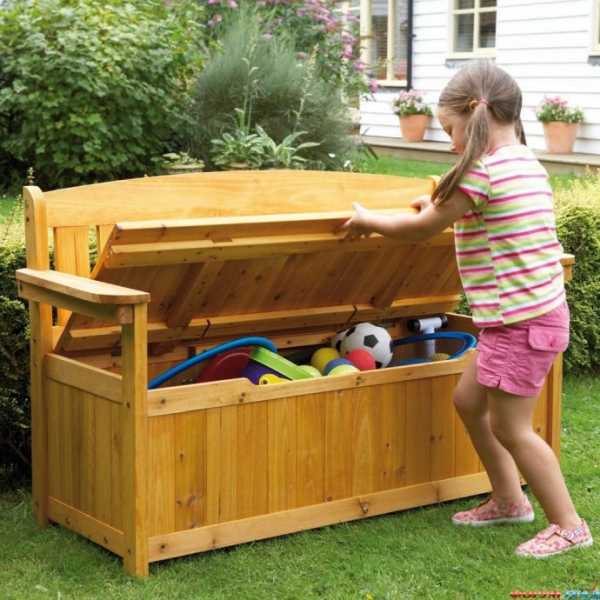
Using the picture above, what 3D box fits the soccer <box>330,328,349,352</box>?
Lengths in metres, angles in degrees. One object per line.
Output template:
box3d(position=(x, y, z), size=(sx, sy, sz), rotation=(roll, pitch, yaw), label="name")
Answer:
box3d(position=(0.179, 0.183, 3.214), size=(0.113, 0.095, 0.094), rotation=(-2, 4, -8), label="soccer")

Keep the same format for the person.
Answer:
box3d(position=(0.630, 0.025, 2.293), size=(0.738, 1.621, 0.324), rotation=(1, 10, 4), label="person")

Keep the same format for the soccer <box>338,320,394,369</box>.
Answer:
box3d(position=(0.288, 0.203, 3.113), size=(0.178, 0.150, 0.203), rotation=(-31, -7, 32), label="soccer")

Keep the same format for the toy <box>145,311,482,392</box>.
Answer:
box3d(position=(-0.061, 0.185, 2.587), size=(1.237, 0.280, 0.261), rotation=(-3, -21, -35), label="toy")

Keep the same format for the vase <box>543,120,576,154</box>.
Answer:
box3d(position=(3.724, -2.309, 9.948), size=(0.541, 0.331, 0.478), rotation=(1, 0, 3), label="vase")

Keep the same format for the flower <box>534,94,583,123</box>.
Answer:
box3d(position=(3.682, -2.719, 9.888), size=(0.521, 0.249, 0.577), rotation=(0, -3, 34), label="flower")

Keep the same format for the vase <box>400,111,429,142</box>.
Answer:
box3d(position=(1.972, -2.961, 11.936), size=(0.580, 0.316, 0.498), rotation=(1, 0, 3), label="vase")

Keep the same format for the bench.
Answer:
box3d(position=(0.028, 0.258, 2.931), size=(2.319, 1.146, 0.826), rotation=(2, 13, -38), label="bench")

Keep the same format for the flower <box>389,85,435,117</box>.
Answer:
box3d(position=(1.941, -3.425, 12.071), size=(0.704, 0.371, 0.557), rotation=(-2, 38, -2), label="flower")
